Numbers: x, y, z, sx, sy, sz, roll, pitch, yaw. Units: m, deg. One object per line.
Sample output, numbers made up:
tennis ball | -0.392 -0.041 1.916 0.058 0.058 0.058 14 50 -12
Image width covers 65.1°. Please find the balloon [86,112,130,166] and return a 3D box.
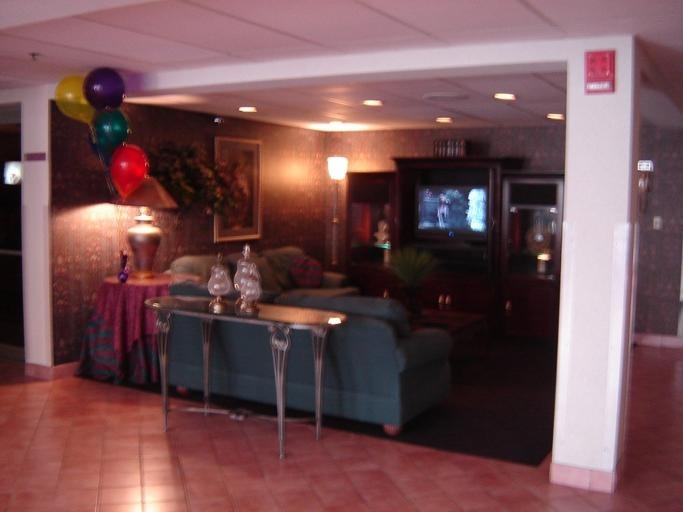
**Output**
balloon | -1.923 -0.985 4.531 0.306 0.388 0.313 11 0 20

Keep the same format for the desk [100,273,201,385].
desk | -2.009 0.725 5.322 0.890 1.003 1.068 -4 10 -31

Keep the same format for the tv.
tv | 1.631 -0.627 7.829 0.829 0.605 0.087 3 3 29

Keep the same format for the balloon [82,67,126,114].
balloon | -1.907 -1.302 4.405 0.330 0.392 0.332 -6 -21 -36

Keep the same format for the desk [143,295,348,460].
desk | -0.696 0.945 4.173 1.062 0.673 0.433 2 3 33

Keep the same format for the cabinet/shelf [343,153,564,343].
cabinet/shelf | 1.622 -0.132 7.072 2.517 1.853 0.514 4 6 38
